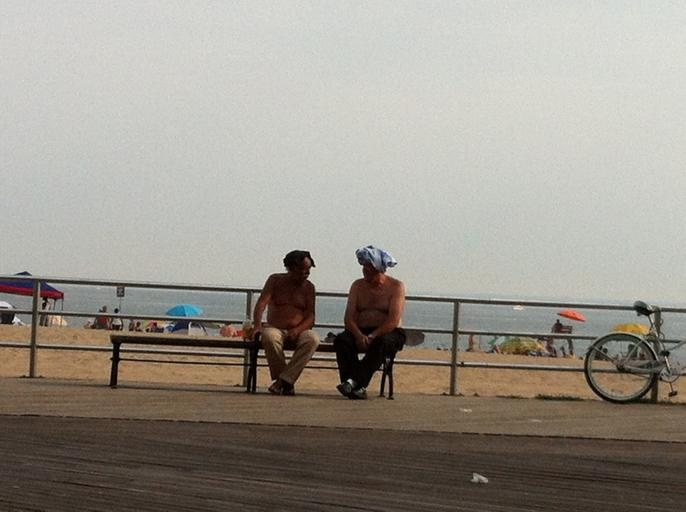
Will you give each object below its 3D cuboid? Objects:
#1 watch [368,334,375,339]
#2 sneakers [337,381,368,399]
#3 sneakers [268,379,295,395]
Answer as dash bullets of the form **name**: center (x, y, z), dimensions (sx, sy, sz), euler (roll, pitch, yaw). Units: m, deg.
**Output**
- **watch**: center (0.288, 0.817, 9.874), dimensions (0.032, 0.041, 0.038), euler (-9, -27, 21)
- **sneakers**: center (0.093, 1.343, 9.747), dimensions (0.360, 0.207, 0.221), euler (1, 4, -19)
- **sneakers**: center (-0.602, 1.352, 9.850), dimensions (0.108, 0.132, 0.319), euler (-10, -28, 37)
